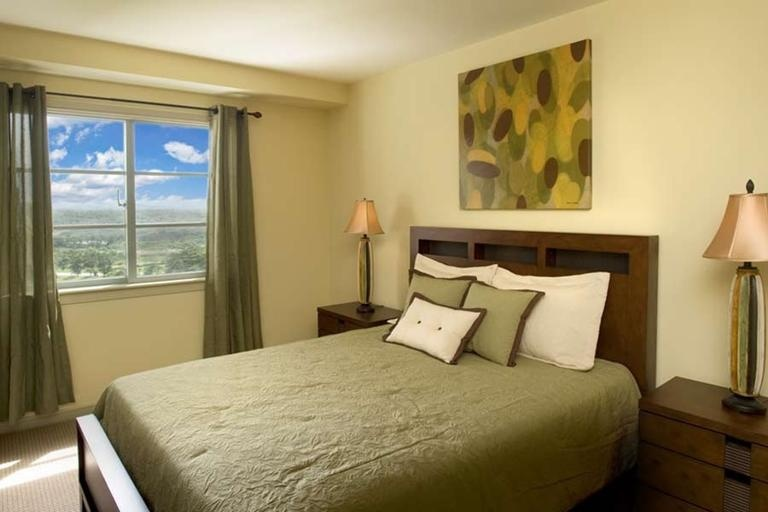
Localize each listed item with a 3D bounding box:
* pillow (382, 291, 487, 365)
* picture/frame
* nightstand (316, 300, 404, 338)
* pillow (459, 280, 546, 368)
[{"bbox_3d":[0.356,0.524,3.795,0.142,0.424,0.578,38,-18,-30],"label":"pillow"},{"bbox_3d":[1.076,-0.984,4.150,1.139,1.203,0.105,6,10,41],"label":"picture/frame"},{"bbox_3d":[-0.292,0.733,5.068,0.672,0.423,0.379,13,13,42],"label":"nightstand"},{"bbox_3d":[0.807,0.459,3.692,0.165,0.508,0.515,27,-11,-41],"label":"pillow"}]
